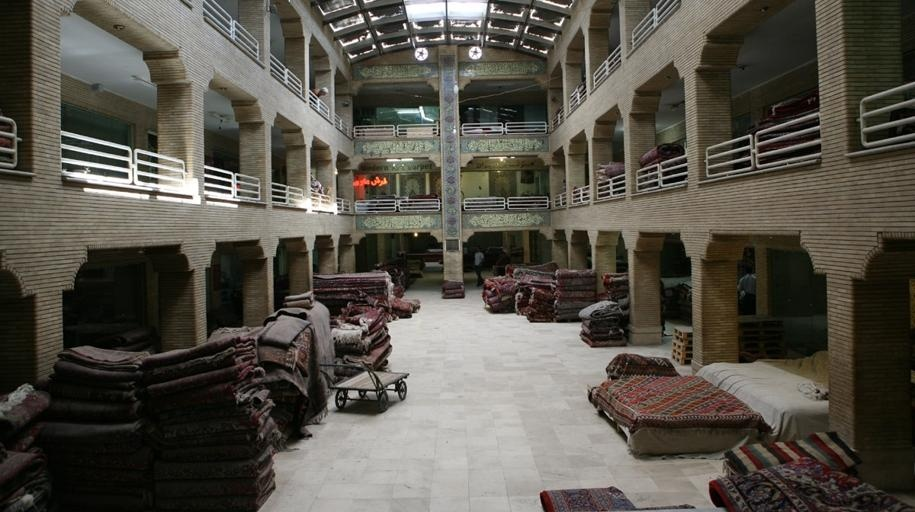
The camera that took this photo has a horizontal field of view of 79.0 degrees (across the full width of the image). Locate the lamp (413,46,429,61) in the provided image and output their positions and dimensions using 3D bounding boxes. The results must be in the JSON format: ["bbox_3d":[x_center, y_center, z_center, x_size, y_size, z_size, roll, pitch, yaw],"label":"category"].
[{"bbox_3d":[-2.069,-11.404,31.094,0.891,0.702,0.187,3,15,-9],"label":"lamp"}]

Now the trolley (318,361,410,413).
[{"bbox_3d":[-2.629,3.496,15.343,1.889,1.262,2.003,-1,-2,-43],"label":"trolley"}]

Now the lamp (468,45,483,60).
[{"bbox_3d":[0.993,-11.508,31.163,0.815,0.642,0.163,6,13,-5],"label":"lamp"}]

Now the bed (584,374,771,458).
[{"bbox_3d":[5.568,3.846,14.021,3.562,0.699,3.078,-2,6,-1],"label":"bed"}]
